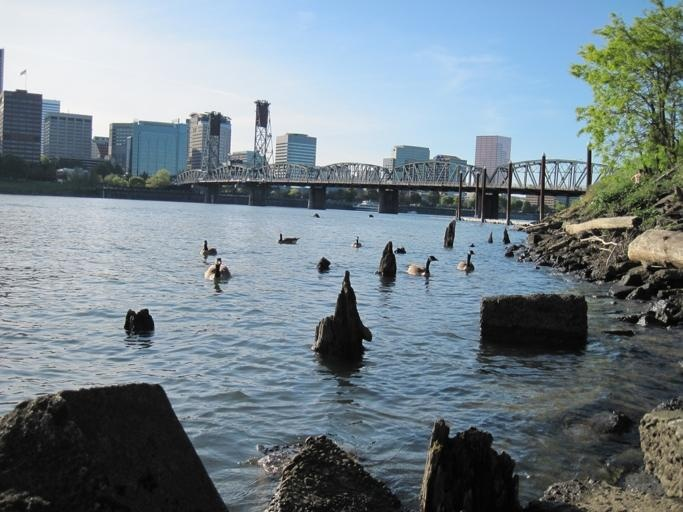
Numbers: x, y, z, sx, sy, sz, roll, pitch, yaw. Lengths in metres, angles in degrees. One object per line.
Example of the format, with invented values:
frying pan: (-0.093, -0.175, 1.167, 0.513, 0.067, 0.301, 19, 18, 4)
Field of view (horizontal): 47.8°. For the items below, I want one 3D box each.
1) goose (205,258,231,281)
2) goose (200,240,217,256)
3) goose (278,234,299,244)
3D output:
goose: (-5.020, 0.518, 31.177, 0.936, 0.894, 1.230, 1, 3, 11)
goose: (-7.284, -0.403, 42.503, 0.805, 0.747, 2.525, 0, 3, -11)
goose: (-3.784, -1.063, 53.203, 1.048, 0.734, 1.022, 7, 10, 22)
